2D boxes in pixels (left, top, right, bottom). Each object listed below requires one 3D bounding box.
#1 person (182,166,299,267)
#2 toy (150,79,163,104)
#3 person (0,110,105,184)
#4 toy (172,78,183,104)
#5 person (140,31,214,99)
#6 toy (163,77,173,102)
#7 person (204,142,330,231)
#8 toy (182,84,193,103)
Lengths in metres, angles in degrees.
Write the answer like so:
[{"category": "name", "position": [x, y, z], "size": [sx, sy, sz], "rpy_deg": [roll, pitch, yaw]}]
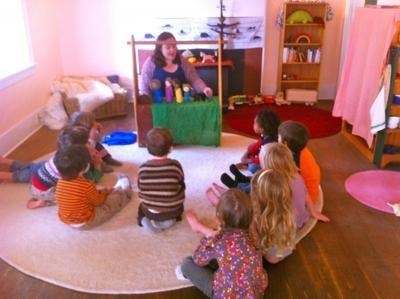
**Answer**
[{"category": "person", "position": [0.381, 0.348, 2.317], "size": [0.326, 0.790, 0.758], "rpy_deg": [-34, 47, -28]}, {"category": "toy", "position": [-0.557, -0.742, 3.829], "size": [0.179, 0.268, 0.204], "rpy_deg": [2, 27, 1]}, {"category": "person", "position": [-1.661, -0.015, 3.327], "size": [1.194, 0.537, 0.368], "rpy_deg": [-22, 45, -37]}, {"category": "toy", "position": [-0.282, -0.736, 3.832], "size": [0.135, 0.239, 0.340], "rpy_deg": [-1, 28, -4]}, {"category": "person", "position": [-0.285, -1.167, 4.230], "size": [0.849, 1.077, 0.605], "rpy_deg": [-23, 42, -22]}, {"category": "toy", "position": [-0.384, -0.744, 3.828], "size": [0.107, 0.245, 0.253], "rpy_deg": [-1, 28, -5]}, {"category": "person", "position": [0.539, 0.255, 2.397], "size": [0.767, 0.452, 0.541], "rpy_deg": [5, -12, 23]}, {"category": "toy", "position": [-0.166, -0.733, 3.881], "size": [0.125, 0.185, 0.278], "rpy_deg": [-1, 28, -4]}]
